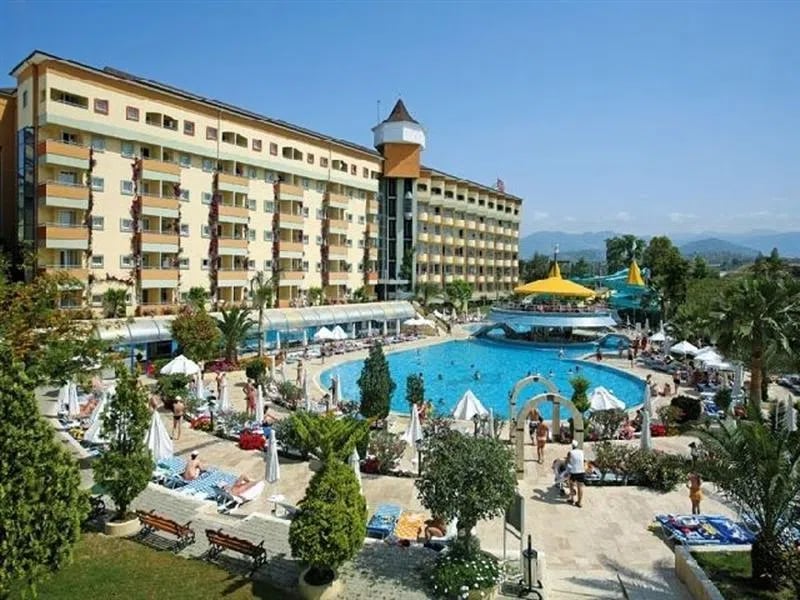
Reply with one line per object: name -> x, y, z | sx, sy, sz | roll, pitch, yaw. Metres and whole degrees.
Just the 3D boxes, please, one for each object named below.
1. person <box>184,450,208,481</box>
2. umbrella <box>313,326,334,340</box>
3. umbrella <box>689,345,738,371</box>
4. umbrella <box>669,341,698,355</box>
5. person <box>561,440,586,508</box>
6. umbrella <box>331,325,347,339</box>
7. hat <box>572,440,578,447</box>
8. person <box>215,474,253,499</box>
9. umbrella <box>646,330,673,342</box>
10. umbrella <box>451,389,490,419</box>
person -> -7.939, 6.439, 24.375 | 0.582, 1.124, 0.929 | 14, 19, 12
umbrella -> -6.124, 2.741, 50.661 | 1.249, 0.857, 1.303 | -1, -2, 7
umbrella -> 18.674, 3.543, 37.512 | 1.617, 0.815, 1.689 | 6, -1, 9
umbrella -> 19.186, 3.265, 42.326 | 1.177, 0.629, 1.230 | -1, -1, 3
person -> 6.613, 6.450, 23.593 | 0.652, 2.238, 0.750 | 0, -11, 30
umbrella -> -4.907, 2.570, 50.455 | 1.034, 0.570, 1.081 | -1, 1, 0
hat -> 6.601, 5.468, 23.845 | 0.210, 0.240, 0.287 | 9, 17, 36
person -> -5.952, 6.744, 22.652 | 0.491, 0.626, 1.306 | 5, 12, 36
umbrella -> 21.559, 3.000, 52.070 | 1.406, 0.523, 1.468 | -2, 2, -1
umbrella -> 3.115, 4.883, 28.454 | 1.355, 0.752, 1.418 | -5, 6, -38
